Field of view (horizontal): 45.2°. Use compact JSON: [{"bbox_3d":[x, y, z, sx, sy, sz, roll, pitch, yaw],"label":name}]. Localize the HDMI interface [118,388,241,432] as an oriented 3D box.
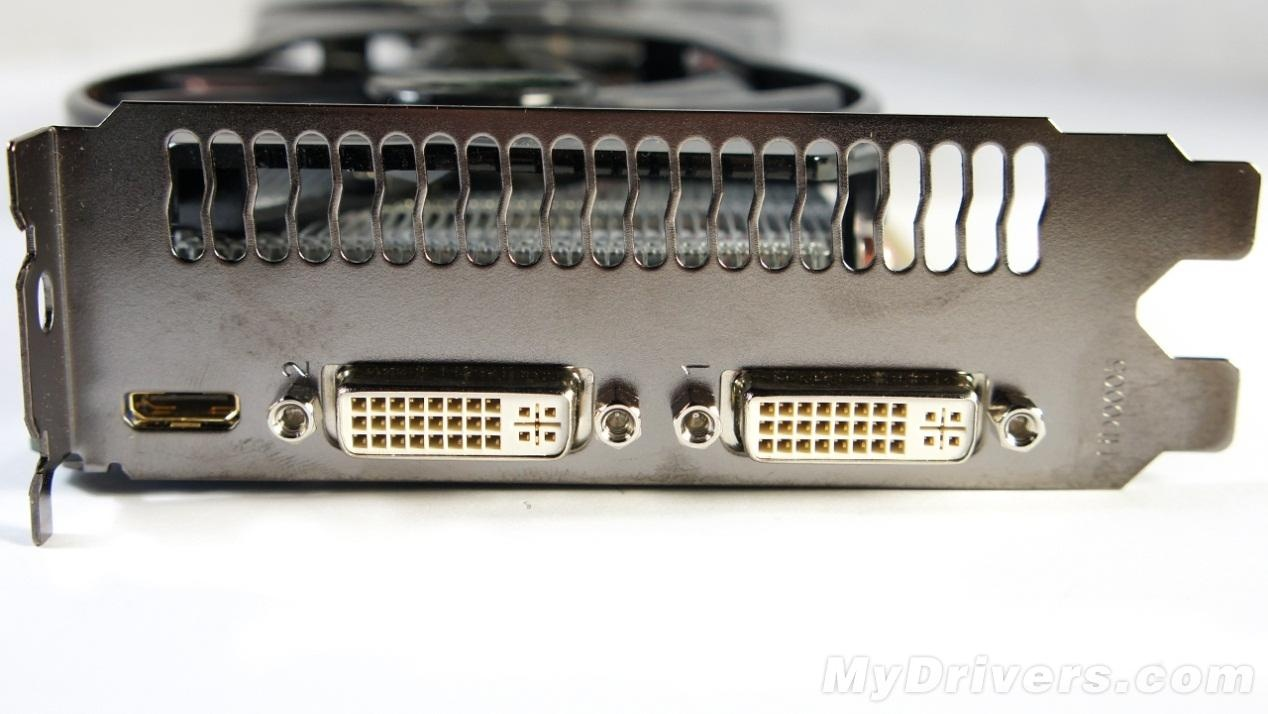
[{"bbox_3d":[-0.644,0.080,2.171,0.145,0.061,0.031,3,5,-2],"label":"HDMI interface"}]
